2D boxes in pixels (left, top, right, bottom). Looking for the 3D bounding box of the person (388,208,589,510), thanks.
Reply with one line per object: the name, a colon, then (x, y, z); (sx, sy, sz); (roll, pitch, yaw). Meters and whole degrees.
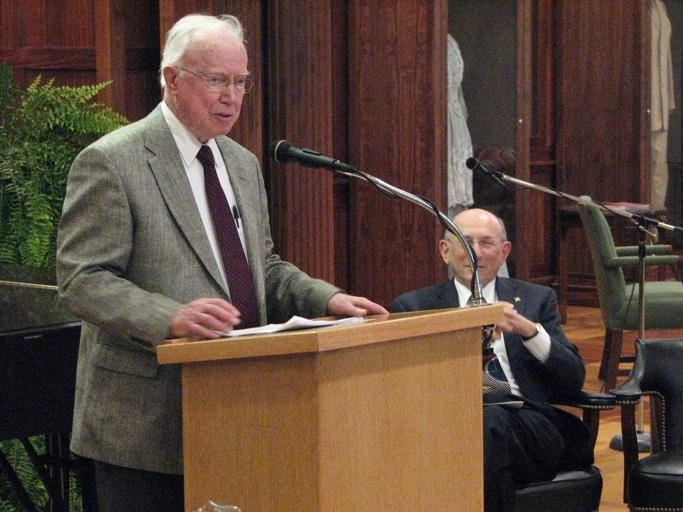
person: (0.602, 0.357, 3.290); (0.668, 1.004, 0.686); (9, 9, 35)
